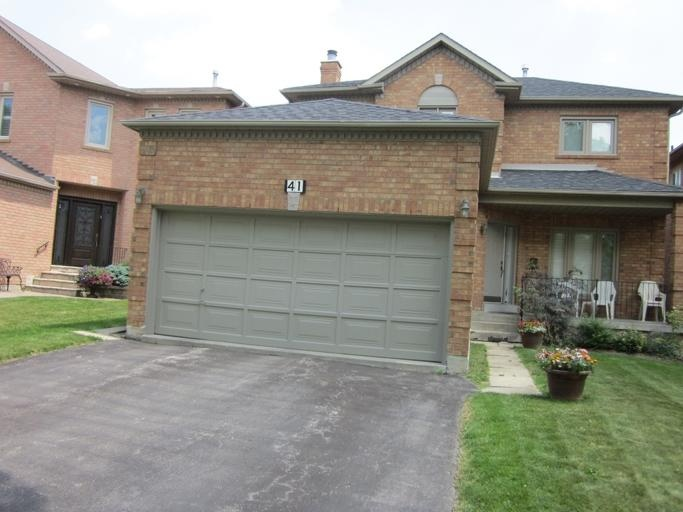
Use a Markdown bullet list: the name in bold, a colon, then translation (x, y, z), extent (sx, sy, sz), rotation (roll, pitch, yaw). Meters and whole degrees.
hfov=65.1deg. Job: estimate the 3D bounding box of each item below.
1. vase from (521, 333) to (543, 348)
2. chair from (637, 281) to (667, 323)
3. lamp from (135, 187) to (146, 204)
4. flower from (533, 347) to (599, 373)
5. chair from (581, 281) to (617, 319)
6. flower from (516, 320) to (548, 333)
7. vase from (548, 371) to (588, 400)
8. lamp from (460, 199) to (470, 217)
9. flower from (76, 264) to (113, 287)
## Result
- **vase**: translation (4.983, 2.150, 13.757), extent (0.448, 0.283, 0.442), rotation (-7, -11, 42)
- **chair**: translation (9.115, 1.329, 15.498), extent (0.768, 1.156, 0.900), rotation (6, 7, 17)
- **lamp**: translation (-4.481, -1.326, 11.887), extent (0.171, 0.358, 0.070), rotation (2, 7, -16)
- **flower**: translation (3.885, 1.799, 9.419), extent (0.662, 0.312, 0.736), rotation (2, -2, -15)
- **chair**: translation (7.868, 1.112, 15.827), extent (0.609, 0.667, 0.546), rotation (16, -13, -2)
- **flower**: translation (5.076, 1.848, 13.933), extent (0.787, 0.326, 0.567), rotation (1, 6, -17)
- **vase**: translation (3.898, 2.198, 9.191), extent (0.611, 0.357, 0.569), rotation (3, -10, -11)
- **lamp**: translation (2.485, -0.945, 10.601), extent (0.190, 0.345, 0.121), rotation (5, 7, 11)
- **flower**: translation (-8.510, 0.681, 18.594), extent (0.938, 0.566, 0.861), rotation (0, -1, -3)
